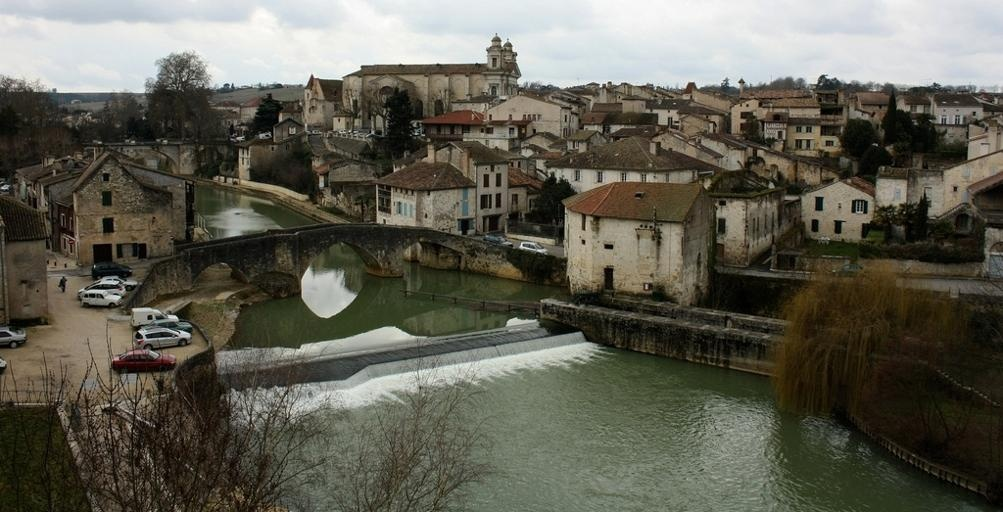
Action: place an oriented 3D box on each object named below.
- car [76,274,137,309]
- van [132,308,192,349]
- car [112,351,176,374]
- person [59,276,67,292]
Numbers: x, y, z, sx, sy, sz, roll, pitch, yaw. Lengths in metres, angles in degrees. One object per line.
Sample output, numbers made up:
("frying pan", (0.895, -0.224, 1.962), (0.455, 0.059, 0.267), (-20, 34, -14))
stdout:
("car", (-21.743, 2.046, 42.894), (2.274, 1.248, 1.967), (0, 7, -7))
("van", (-17.226, 3.753, 39.229), (3.188, 1.367, 1.759), (-3, 17, -17))
("car", (-16.659, 4.968, 36.618), (2.661, 0.740, 1.120), (-1, 15, -13))
("person", (-24.783, 1.521, 44.184), (0.418, 0.658, 1.334), (7, 21, -31))
